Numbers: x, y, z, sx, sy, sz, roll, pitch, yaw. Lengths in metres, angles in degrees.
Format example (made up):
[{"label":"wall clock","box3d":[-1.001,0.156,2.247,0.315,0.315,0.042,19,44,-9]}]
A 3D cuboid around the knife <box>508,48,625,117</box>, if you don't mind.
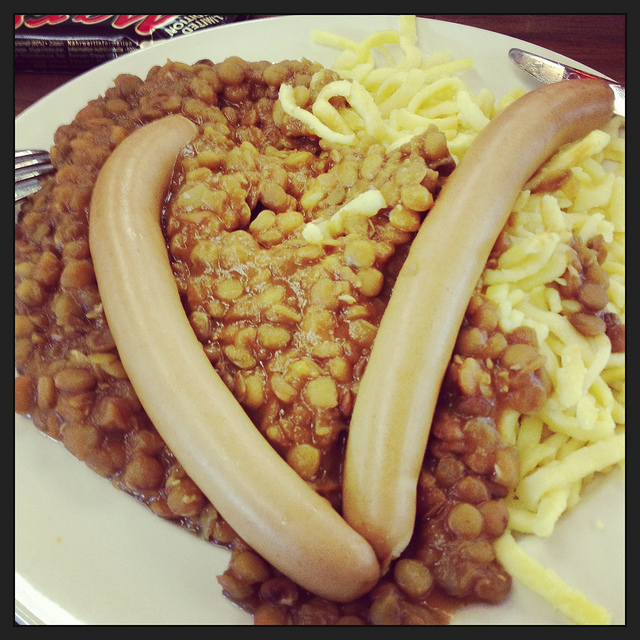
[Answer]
[{"label":"knife","box3d":[0.785,-0.667,1.971,0.808,0.067,0.162,-6,24,-43]}]
